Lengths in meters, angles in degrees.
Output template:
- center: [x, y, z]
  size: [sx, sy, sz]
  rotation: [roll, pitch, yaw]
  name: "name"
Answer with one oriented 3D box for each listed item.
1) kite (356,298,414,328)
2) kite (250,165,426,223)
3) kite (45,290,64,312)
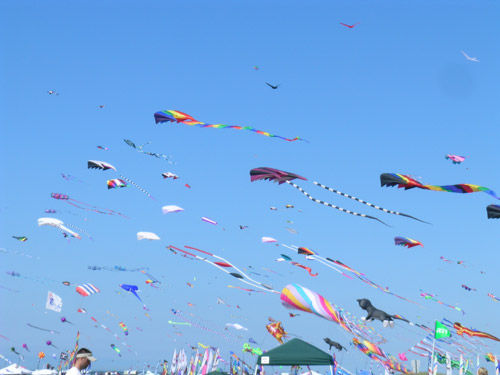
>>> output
- center: [5.068, 4.770, 38.351]
  size: [2.518, 0.844, 0.575]
  rotation: [17, 31, 39]
  name: "kite"
- center: [2.604, -0.046, 27.246]
  size: [4.711, 0.198, 1.037]
  rotation: [14, -37, 3]
  name: "kite"
- center: [-8.820, 5.158, 46.532]
  size: [0.593, 0.903, 0.984]
  rotation: [11, -23, -9]
  name: "kite"
